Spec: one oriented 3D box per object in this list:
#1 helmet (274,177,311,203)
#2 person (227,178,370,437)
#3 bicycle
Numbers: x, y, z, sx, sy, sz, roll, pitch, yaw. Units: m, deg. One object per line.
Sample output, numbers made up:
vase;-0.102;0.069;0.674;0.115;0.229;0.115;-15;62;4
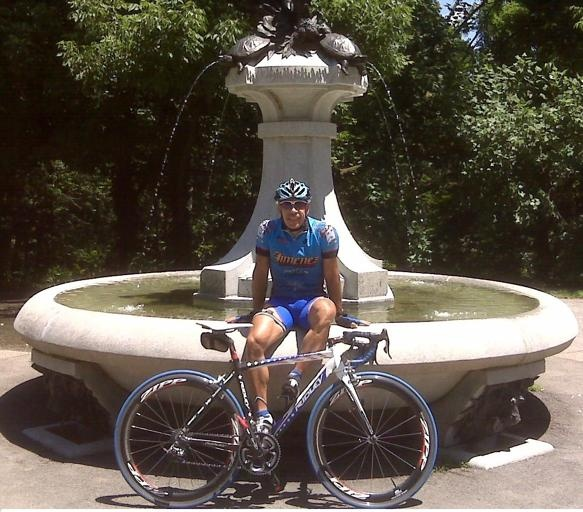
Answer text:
helmet;0.015;-0.437;4.541;0.166;0.125;0.246;1;6;4
person;-0.042;0.278;4.418;0.898;1.532;1.069;0;3;15
bicycle;-0.140;0.962;4.589;1.936;1.185;1.563;1;4;-6
